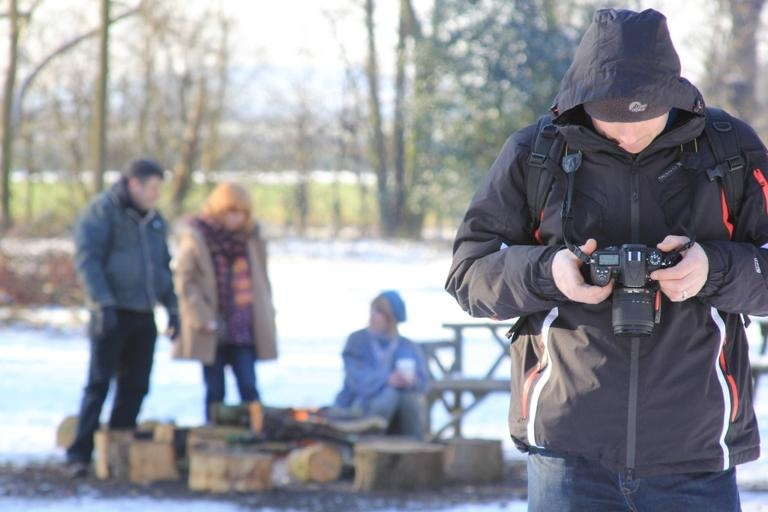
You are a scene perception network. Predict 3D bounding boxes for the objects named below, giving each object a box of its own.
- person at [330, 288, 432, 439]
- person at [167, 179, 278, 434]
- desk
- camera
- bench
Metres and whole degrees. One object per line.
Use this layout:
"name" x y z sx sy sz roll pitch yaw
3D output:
"person" -0.022 0.774 14.330 0.686 1.062 0.266 -1 3 -4
"person" -1.141 0.323 14.077 0.725 1.652 0.212 -1 3 -9
"desk" 0.606 0.923 15.299 0.739 1.071 0.743 1 -4 7
"camera" 1.472 0.200 11.786 0.480 0.579 0.243 0 -4 0
"bench" 0.609 0.992 15.065 0.662 0.995 0.701 1 -2 3
